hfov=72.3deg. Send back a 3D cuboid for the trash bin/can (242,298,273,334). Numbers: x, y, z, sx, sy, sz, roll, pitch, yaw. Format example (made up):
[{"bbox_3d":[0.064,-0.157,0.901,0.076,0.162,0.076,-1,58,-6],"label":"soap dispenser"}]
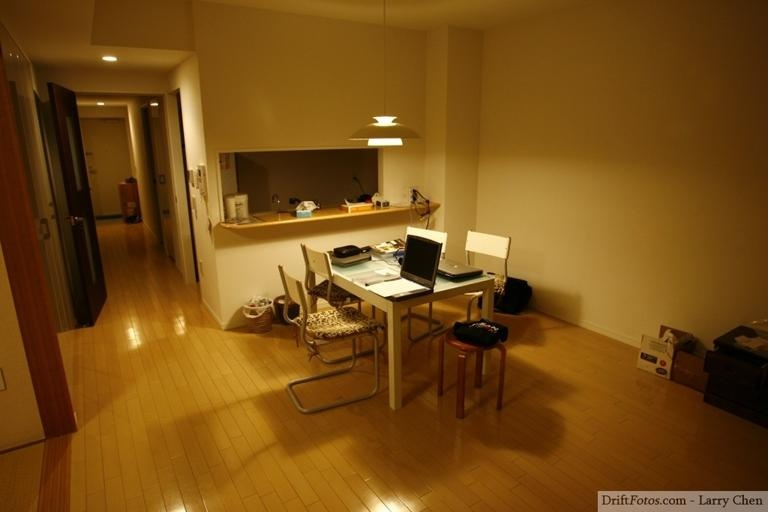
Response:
[{"bbox_3d":[-1.433,0.645,6.165,0.359,0.346,0.345,11,17,41],"label":"trash bin/can"}]

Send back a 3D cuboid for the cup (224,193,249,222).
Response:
[{"bbox_3d":[-1.680,-0.594,6.140,0.293,0.309,0.287,1,18,0],"label":"cup"}]

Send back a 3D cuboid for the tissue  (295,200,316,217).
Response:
[{"bbox_3d":[-0.953,-0.568,6.327,0.149,0.109,0.261,-7,12,-25],"label":"tissue "}]

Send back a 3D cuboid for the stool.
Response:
[{"bbox_3d":[0.827,0.975,5.043,0.671,0.786,0.833,1,14,12],"label":"stool"}]

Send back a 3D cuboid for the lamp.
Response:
[{"bbox_3d":[-0.021,-1.921,5.631,0.672,1.574,1.911,-1,14,2],"label":"lamp"}]

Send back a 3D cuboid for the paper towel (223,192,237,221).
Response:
[{"bbox_3d":[-1.766,-0.569,6.046,0.184,0.348,0.188,-10,20,-35],"label":"paper towel"}]
